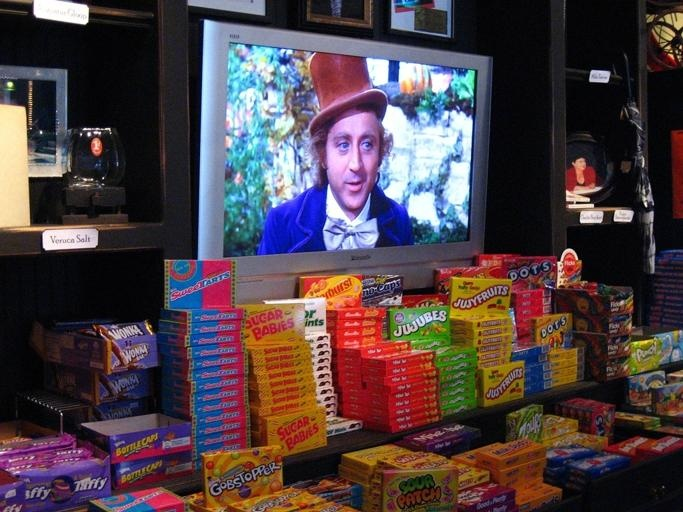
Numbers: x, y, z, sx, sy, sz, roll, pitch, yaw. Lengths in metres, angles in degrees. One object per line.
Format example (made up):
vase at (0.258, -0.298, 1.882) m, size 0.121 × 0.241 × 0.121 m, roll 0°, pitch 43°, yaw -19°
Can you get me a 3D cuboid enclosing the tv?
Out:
tv at (-0.015, -0.453, 2.894) m, size 1.472 × 1.125 × 0.151 m, roll -3°, pitch 7°, yaw -33°
